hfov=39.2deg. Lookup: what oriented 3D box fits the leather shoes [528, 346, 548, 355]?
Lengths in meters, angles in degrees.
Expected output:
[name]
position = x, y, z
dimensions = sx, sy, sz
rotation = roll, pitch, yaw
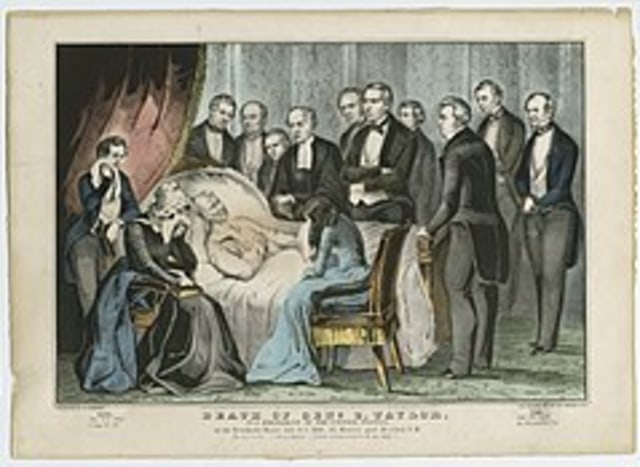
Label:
[leather shoes]
position = 2.729, 1.462, 11.256
dimensions = 0.233, 0.065, 0.089
rotation = -3, 3, -20
